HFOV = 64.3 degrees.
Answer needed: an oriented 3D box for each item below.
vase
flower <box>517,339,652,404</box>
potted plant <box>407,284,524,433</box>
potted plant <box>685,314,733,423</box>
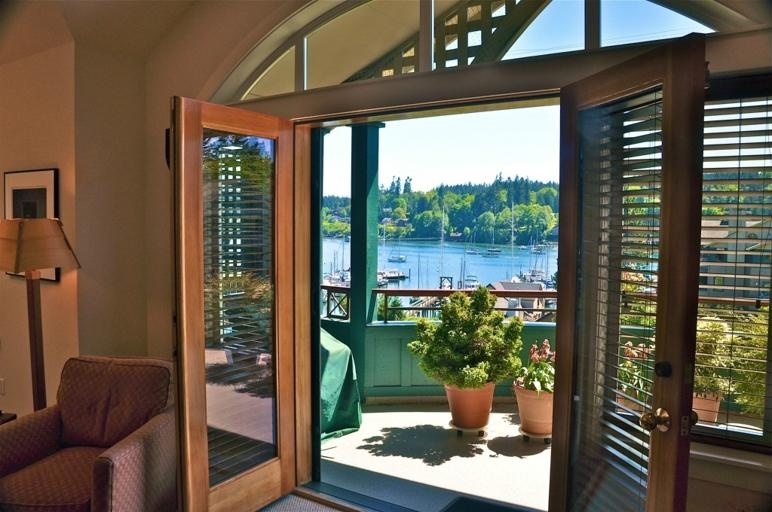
[{"bbox_3d":[1.382,1.281,5.207,0.543,0.420,0.554,0,-5,19],"label":"vase"},{"bbox_3d":[1.086,0.677,3.397,0.595,0.242,0.423,4,-5,1],"label":"flower"},{"bbox_3d":[0.691,0.892,5.305,0.953,1.213,0.504,1,10,3],"label":"potted plant"},{"bbox_3d":[1.855,0.647,3.493,0.188,0.603,0.079,6,12,28],"label":"potted plant"}]
